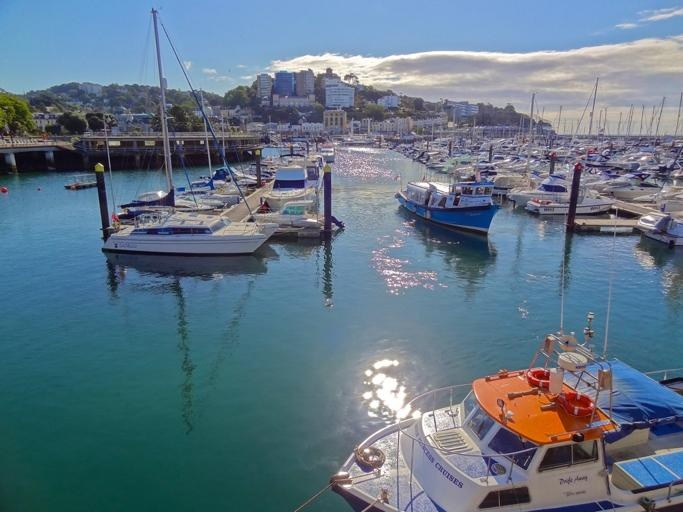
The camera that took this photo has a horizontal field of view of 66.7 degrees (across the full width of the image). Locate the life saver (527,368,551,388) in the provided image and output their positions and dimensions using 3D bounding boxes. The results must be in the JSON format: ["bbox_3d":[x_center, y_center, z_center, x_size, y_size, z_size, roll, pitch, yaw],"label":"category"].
[{"bbox_3d":[5.470,3.352,14.281,0.511,0.156,0.520,25,40,36],"label":"life saver"}]

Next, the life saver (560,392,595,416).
[{"bbox_3d":[6.191,3.884,13.591,0.889,0.457,0.500,-1,18,5],"label":"life saver"}]
